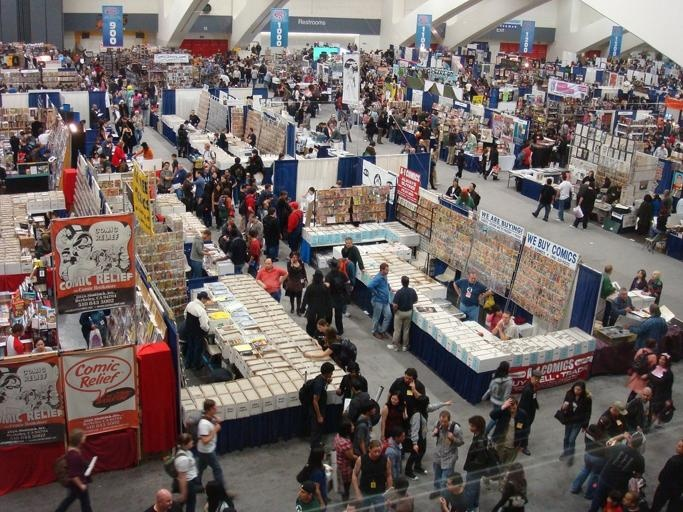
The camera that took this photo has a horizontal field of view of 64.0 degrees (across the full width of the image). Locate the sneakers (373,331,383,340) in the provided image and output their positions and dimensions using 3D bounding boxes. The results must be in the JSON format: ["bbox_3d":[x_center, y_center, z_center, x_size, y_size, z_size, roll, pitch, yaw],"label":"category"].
[{"bbox_3d":[0.742,1.617,11.151,0.076,0.099,0.230,-6,8,-34],"label":"sneakers"}]

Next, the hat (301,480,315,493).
[{"bbox_3d":[-0.365,2.515,6.014,0.142,0.090,0.175,-1,18,-6],"label":"hat"}]

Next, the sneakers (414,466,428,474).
[{"bbox_3d":[1.130,3.053,7.761,0.217,0.166,0.079,0,10,6],"label":"sneakers"}]

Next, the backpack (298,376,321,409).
[{"bbox_3d":[-0.460,1.989,7.985,0.278,0.500,0.482,11,-2,-13],"label":"backpack"}]

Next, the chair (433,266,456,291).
[{"bbox_3d":[2.485,0.513,13.055,0.443,0.650,0.449,-16,33,-34],"label":"chair"}]

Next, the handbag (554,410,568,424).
[{"bbox_3d":[3.168,2.306,7.812,0.078,0.209,0.195,1,-21,-20],"label":"handbag"}]

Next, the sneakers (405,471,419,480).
[{"bbox_3d":[0.981,3.069,7.603,0.077,0.068,0.154,-7,11,-38],"label":"sneakers"}]

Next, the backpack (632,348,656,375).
[{"bbox_3d":[4.860,1.675,8.745,0.319,0.356,0.387,12,20,33],"label":"backpack"}]

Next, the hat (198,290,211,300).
[{"bbox_3d":[-2.427,0.701,9.600,0.116,0.171,0.154,4,3,20],"label":"hat"}]

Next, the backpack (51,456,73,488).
[{"bbox_3d":[-3.711,2.824,7.213,0.145,0.526,0.373,-9,19,-32],"label":"backpack"}]

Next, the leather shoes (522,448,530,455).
[{"bbox_3d":[2.799,2.970,8.309,0.053,0.071,0.167,-7,4,-10],"label":"leather shoes"}]

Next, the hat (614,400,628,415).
[{"bbox_3d":[3.737,2.060,7.311,0.160,0.170,0.175,8,18,22],"label":"hat"}]
